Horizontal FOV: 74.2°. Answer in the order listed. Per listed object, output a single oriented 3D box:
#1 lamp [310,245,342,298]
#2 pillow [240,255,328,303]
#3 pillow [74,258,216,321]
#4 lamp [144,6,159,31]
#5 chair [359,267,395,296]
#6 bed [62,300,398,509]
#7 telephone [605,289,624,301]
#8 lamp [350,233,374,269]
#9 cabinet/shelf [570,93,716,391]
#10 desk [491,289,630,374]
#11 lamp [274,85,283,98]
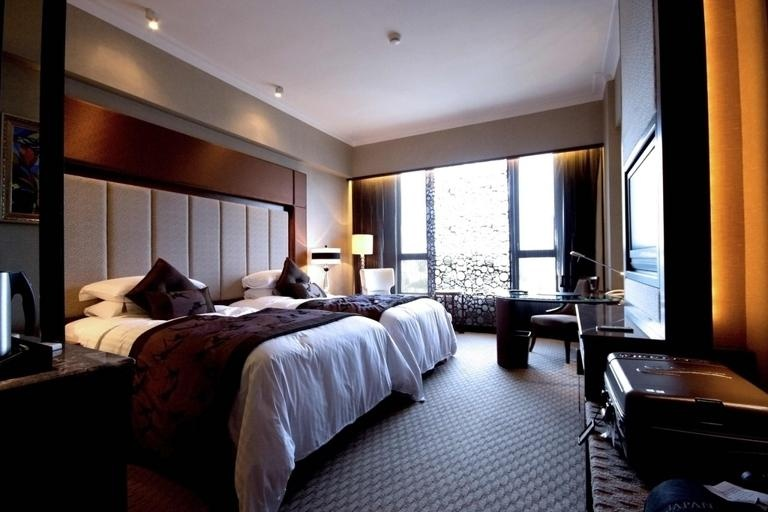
[{"bbox_3d":[-0.731,0.178,6.403,0.351,0.594,0.367,0,-2,-4],"label":"lamp"},{"bbox_3d":[-1.090,0.302,5.370,0.518,0.206,0.533,16,5,37],"label":"pillow"},{"bbox_3d":[-1.861,0.324,4.138,0.642,0.205,0.565,2,27,-41],"label":"pillow"},{"bbox_3d":[-1.969,-2.030,4.356,0.110,0.132,0.268,-6,14,-22],"label":"lamp"},{"bbox_3d":[-0.096,0.362,6.896,0.337,0.436,0.369,2,-9,-19],"label":"chair"},{"bbox_3d":[-0.628,0.692,3.561,1.348,0.625,1.392,0,1,29],"label":"bed"},{"bbox_3d":[2.076,0.352,4.591,0.155,0.046,0.150,-7,9,-27],"label":"telephone"},{"bbox_3d":[-0.293,-0.063,7.216,0.300,0.521,0.356,-1,12,-2],"label":"lamp"},{"bbox_3d":[1.503,-0.080,2.995,0.612,1.620,1.008,4,13,20],"label":"cabinet/shelf"},{"bbox_3d":[1.515,0.638,4.746,0.767,0.517,0.808,-1,4,-8],"label":"desk"},{"bbox_3d":[-1.139,-1.802,5.544,0.082,0.093,0.084,-1,7,-17],"label":"lamp"}]
